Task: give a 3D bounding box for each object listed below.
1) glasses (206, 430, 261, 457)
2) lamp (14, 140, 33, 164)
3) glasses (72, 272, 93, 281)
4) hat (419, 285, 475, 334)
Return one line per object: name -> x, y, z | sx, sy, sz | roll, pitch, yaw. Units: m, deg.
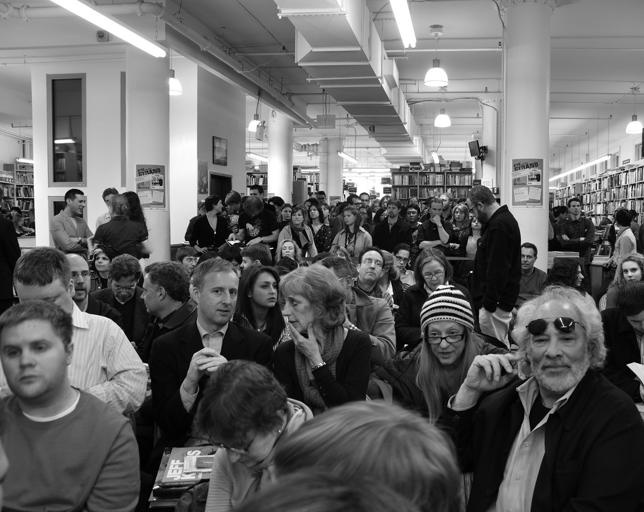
glasses -> -0.264, 0.607, 1.754 | 0.095, 0.108, 0.033 | -13, 37, 21
lamp -> -11.121, -3.920, 20.588 | 0.532, 1.067, 1.857 | -1, 4, -30
glasses -> -1.706, 0.151, 3.917 | 0.063, 0.072, 0.022 | 1, 35, -8
hat -> 0.567, 0.237, 2.491 | 0.192, 0.238, 0.225 | 2, -6, 6
